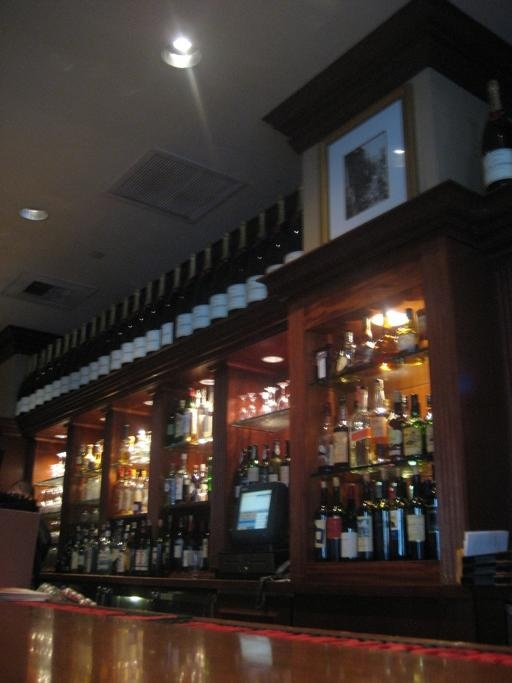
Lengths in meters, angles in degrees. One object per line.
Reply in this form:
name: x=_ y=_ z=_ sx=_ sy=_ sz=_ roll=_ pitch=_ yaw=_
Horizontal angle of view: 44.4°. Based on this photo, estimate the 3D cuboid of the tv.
tv: x=0.058 y=0.848 z=3.071 sx=0.182 sy=0.281 sz=0.333 roll=25 pitch=-32 yaw=-29

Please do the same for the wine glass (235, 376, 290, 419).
wine glass: x=0.079 y=0.319 z=3.471 sx=0.127 sy=0.141 sz=0.429 roll=20 pitch=-28 yaw=-34

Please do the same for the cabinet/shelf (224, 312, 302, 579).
cabinet/shelf: x=0.056 y=0.666 z=3.191 sx=0.344 sy=0.960 sz=0.425 roll=16 pitch=-27 yaw=-38

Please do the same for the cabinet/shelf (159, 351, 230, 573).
cabinet/shelf: x=-0.359 y=0.716 z=3.625 sx=0.336 sy=1.129 sz=0.823 roll=3 pitch=-17 yaw=-9

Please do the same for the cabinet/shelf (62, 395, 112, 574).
cabinet/shelf: x=-1.325 y=1.256 z=4.954 sx=0.538 sy=1.113 sz=0.237 roll=-4 pitch=-11 yaw=-5

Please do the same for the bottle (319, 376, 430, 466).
bottle: x=0.465 y=0.314 z=2.408 sx=0.341 sy=0.303 sz=0.114 roll=-17 pitch=-39 yaw=43
